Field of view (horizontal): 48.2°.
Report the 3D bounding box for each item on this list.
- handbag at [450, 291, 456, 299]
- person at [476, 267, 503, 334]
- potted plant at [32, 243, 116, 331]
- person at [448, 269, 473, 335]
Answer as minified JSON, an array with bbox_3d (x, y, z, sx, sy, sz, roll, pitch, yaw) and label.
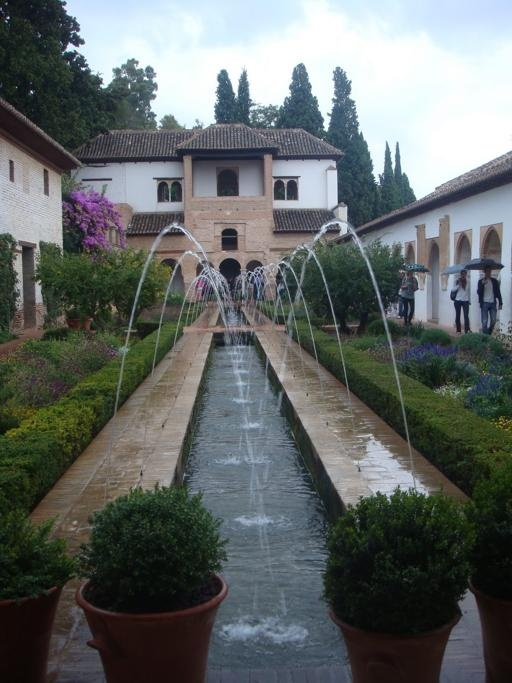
[{"bbox_3d":[5.383,-1.246,15.507,0.120,0.207,0.189,5,6,10],"label":"handbag"},{"bbox_3d":[5.619,-0.950,13.722,0.517,1.547,1.487,2,4,22],"label":"person"},{"bbox_3d":[-4.925,-1.528,15.658,2.359,2.803,2.308,4,2,44],"label":"potted plant"},{"bbox_3d":[5.425,-1.034,15.144,0.447,1.635,1.336,1,3,18],"label":"person"}]
